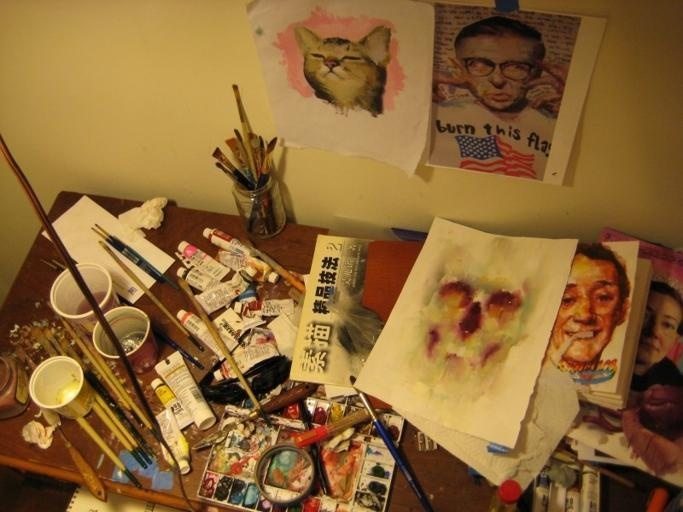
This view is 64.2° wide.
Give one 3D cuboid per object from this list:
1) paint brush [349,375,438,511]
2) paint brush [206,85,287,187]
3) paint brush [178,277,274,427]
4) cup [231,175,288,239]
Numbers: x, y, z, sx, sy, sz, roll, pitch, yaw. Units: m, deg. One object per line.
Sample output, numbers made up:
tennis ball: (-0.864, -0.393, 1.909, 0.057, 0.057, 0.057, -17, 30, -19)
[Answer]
paint brush: (0.092, 0.328, 0.934, 0.016, 0.019, 0.245, 7, 49, -58)
paint brush: (-0.159, -0.190, 0.997, 0.142, 0.159, 0.122, 18, 49, 5)
paint brush: (-0.214, 0.187, 1.005, 0.304, 0.044, 0.013, 56, 15, 22)
cup: (-0.168, -0.115, 1.101, 0.094, 0.143, 0.098, -1, 57, 2)
